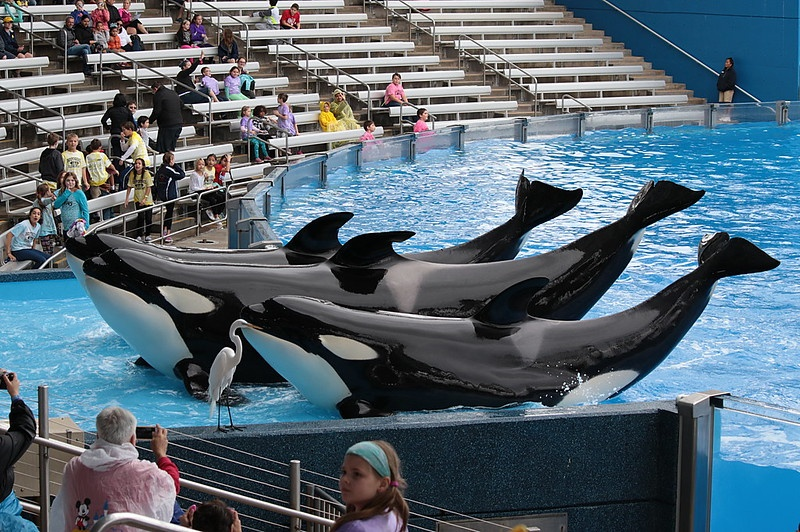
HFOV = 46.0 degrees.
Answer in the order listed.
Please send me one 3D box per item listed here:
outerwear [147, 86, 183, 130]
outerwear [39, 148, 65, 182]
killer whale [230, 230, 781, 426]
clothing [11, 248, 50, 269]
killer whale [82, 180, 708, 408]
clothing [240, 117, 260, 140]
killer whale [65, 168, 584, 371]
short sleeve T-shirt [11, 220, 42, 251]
[{"bbox_3d":[-4.576,-3.050,18.446,0.589,0.780,0.351,-7,19,-15],"label":"outerwear"},{"bbox_3d":[-5.648,-1.611,15.318,0.371,0.538,0.498,-8,18,-19],"label":"outerwear"},{"bbox_3d":[0.717,0.598,9.558,5.706,1.615,1.827,1,-3,-8],"label":"killer whale"},{"bbox_3d":[-5.368,-0.111,13.729,0.490,0.248,0.278,-7,17,-20],"label":"clothing"},{"bbox_3d":[-0.762,0.256,10.700,8.016,2.378,2.261,2,10,-5],"label":"killer whale"},{"bbox_3d":[-3.266,-2.947,20.500,0.359,0.473,0.383,-1,17,2],"label":"clothing"},{"bbox_3d":[-0.948,-0.265,10.955,6.369,2.287,2.107,3,30,-10],"label":"killer whale"},{"bbox_3d":[-5.475,-0.427,13.842,0.579,0.399,0.320,-1,1,-41],"label":"short sleeve T-shirt"}]
